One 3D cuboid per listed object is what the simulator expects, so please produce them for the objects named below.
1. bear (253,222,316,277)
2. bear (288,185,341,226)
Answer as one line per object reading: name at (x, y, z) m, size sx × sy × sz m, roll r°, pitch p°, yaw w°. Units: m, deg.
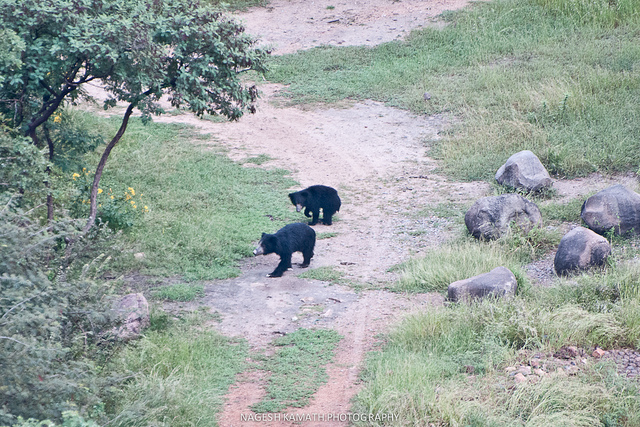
bear at (-0.809, 0.788, 19.368) m, size 1.565 × 1.081 × 0.659 m, roll -12°, pitch 17°, yaw -33°
bear at (-0.161, -0.230, 21.431) m, size 1.342 × 0.925 × 0.605 m, roll -4°, pitch 7°, yaw -34°
